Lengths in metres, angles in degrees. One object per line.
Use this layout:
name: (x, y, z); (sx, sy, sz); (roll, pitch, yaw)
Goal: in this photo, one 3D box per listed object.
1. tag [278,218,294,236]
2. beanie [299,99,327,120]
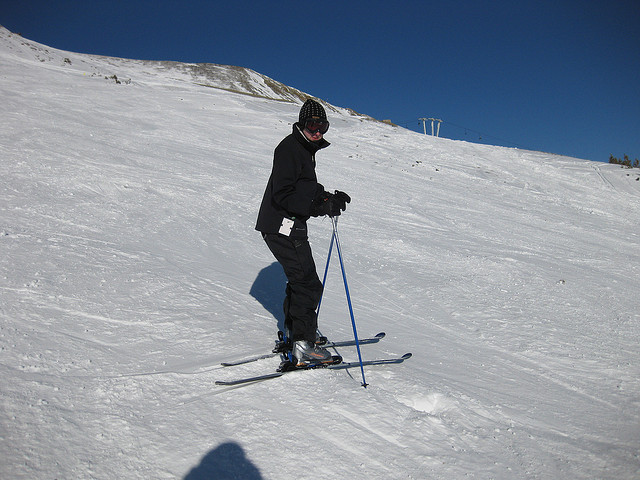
tag: (-0.510, -0.194, 12.000); (0.194, 0.205, 0.070); (23, 12, -4)
beanie: (-0.128, -2.006, 12.096); (0.362, 0.245, 0.427); (-6, 13, -30)
